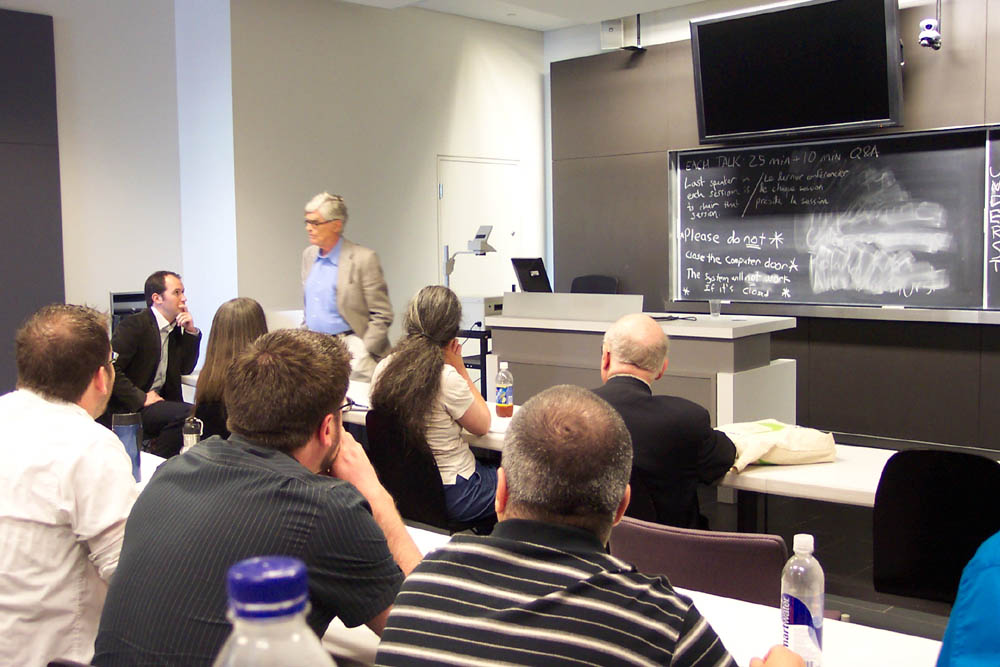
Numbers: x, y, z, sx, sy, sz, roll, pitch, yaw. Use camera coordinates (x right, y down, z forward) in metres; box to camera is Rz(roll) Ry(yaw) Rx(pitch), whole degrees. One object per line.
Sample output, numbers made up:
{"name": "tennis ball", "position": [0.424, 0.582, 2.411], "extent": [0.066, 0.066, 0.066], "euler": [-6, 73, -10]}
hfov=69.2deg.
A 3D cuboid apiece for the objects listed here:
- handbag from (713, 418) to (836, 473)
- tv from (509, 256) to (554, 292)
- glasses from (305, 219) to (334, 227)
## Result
{"name": "handbag", "position": [1.170, 0.498, 3.148], "extent": [0.280, 0.098, 0.279], "euler": [-5, 7, -32]}
{"name": "tv", "position": [0.283, -0.489, 6.184], "extent": [0.283, 0.272, 0.411], "euler": [-2, 8, -8]}
{"name": "glasses", "position": [-1.194, -0.727, 4.771], "extent": [0.199, 0.047, 0.060], "euler": [2, 8, 19]}
